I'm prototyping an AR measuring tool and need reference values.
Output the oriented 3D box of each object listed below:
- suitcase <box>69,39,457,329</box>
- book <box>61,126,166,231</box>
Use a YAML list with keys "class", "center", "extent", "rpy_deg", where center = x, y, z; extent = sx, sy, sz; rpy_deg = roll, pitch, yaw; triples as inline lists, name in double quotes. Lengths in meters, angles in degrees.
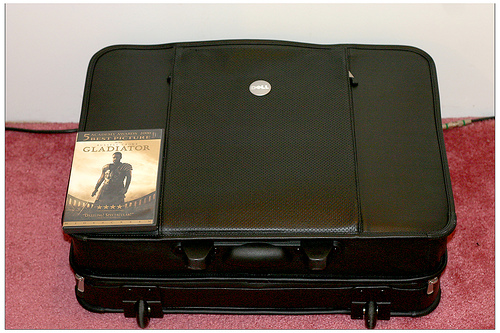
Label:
- class: "suitcase"
  center: [0.086, 0.015, 1.280]
  extent: [1.009, 0.344, 0.698]
  rpy_deg: [1, 70, 1]
- class: "book"
  center: [-0.320, 0.023, 1.096]
  extent: [0.219, 0.174, 0.218]
  rpy_deg: [-2, 26, 4]
